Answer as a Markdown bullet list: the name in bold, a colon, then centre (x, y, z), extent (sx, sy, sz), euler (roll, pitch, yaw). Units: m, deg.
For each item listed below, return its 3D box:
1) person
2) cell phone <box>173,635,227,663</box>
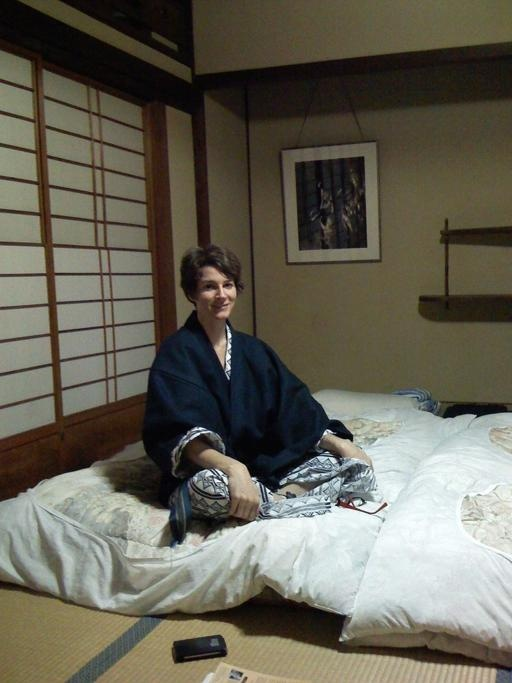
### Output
- **person**: centre (-0.041, 0.128, 1.870), extent (0.845, 0.866, 0.668), euler (-3, 5, -41)
- **cell phone**: centre (-0.137, 0.727, 1.296), extent (0.090, 0.019, 0.050), euler (0, 11, -5)
